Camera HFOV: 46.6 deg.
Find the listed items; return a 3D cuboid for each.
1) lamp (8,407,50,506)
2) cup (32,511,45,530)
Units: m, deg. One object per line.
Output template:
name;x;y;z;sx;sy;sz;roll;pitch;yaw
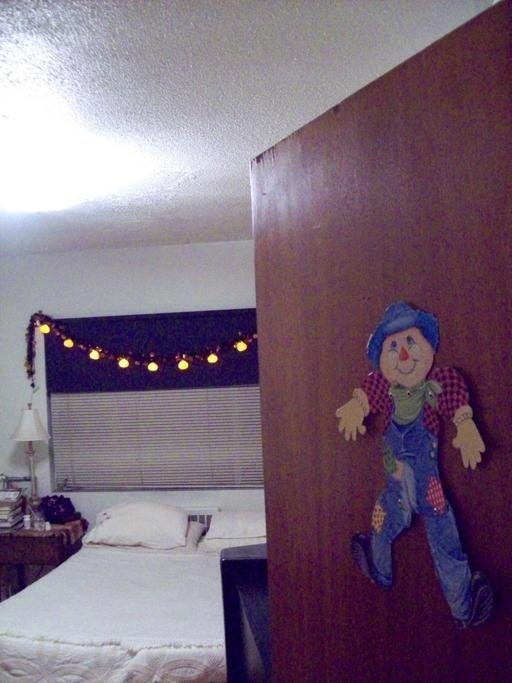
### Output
lamp;-1.460;0.723;3.872;0.203;0.632;0.475;-3;2;-22
cup;-1.336;1.100;3.640;0.058;0.029;0.117;0;35;-18
